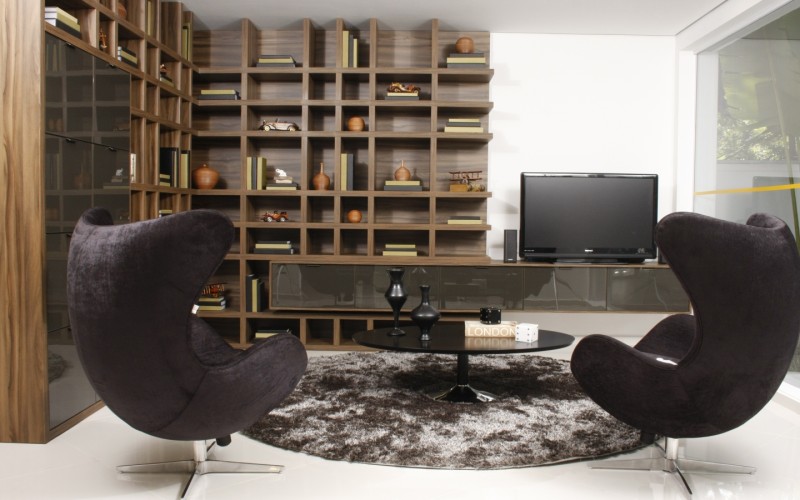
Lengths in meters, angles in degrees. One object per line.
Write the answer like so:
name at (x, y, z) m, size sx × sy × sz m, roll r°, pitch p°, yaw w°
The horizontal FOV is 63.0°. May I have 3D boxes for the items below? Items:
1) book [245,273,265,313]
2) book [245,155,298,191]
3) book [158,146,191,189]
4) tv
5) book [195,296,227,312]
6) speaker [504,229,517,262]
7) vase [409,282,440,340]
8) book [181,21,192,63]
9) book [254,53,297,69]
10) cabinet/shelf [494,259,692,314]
book at (-1.447, 0.429, 6.432) m, size 0.252 × 0.362 × 0.412 m, roll 1°, pitch 2°, yaw 3°
book at (-1.237, -0.762, 6.646) m, size 0.716 × 0.327 × 0.467 m, roll 0°, pitch 1°, yaw 4°
book at (-2.134, -0.767, 6.042) m, size 0.145 × 0.365 × 0.432 m, roll 3°, pitch 6°, yaw 19°
tv at (1.877, -0.333, 6.485) m, size 1.022 × 0.605 × 0.091 m, roll 1°, pitch -2°, yaw 0°
book at (-1.858, 0.516, 6.317) m, size 0.381 × 0.159 × 0.258 m, roll 1°, pitch 0°, yaw -6°
speaker at (1.097, -0.048, 6.441) m, size 0.126 × 0.309 × 0.141 m, roll 1°, pitch 6°, yaw 5°
vase at (0.189, 0.477, 4.989) m, size 0.274 × 0.386 × 0.261 m, roll -4°, pitch 7°, yaw -32°
book at (-2.072, -2.000, 6.290) m, size 0.080 × 0.346 × 0.109 m, roll -1°, pitch 6°, yaw -14°
book at (-1.251, -1.868, 6.465) m, size 0.270 × 0.054 × 0.249 m, roll 0°, pitch 2°, yaw -7°
cabinet/shelf at (1.873, 0.379, 6.508) m, size 2.244 × 0.454 × 0.430 m, roll 1°, pitch -3°, yaw -22°
